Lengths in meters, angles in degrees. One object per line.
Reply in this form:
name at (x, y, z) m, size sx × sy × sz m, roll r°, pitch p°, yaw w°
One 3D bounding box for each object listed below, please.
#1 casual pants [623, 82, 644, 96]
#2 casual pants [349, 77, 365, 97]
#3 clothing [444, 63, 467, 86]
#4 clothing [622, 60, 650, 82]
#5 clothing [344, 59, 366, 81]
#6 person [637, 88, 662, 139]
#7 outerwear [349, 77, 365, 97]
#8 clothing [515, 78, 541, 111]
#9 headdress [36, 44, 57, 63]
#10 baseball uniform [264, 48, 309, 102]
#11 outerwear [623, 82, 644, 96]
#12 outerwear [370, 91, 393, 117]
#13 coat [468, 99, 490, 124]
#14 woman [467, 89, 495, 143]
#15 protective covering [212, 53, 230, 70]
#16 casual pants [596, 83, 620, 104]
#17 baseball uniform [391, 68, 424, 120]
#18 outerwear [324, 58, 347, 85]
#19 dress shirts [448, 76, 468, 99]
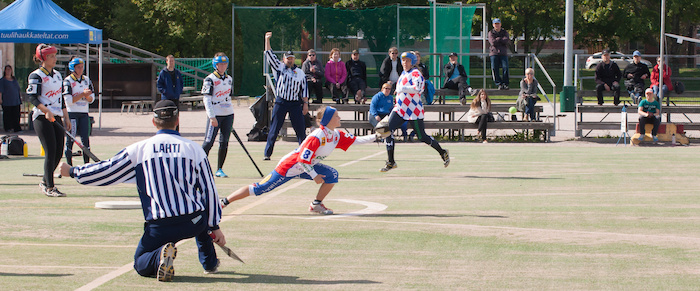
casual pants at (17.864, -3.617, 74.614) m, size 0.913 × 0.909 × 0.492 m, roll 5°, pitch 3°, yaw 19°
casual pants at (0.440, -3.749, 73.963) m, size 1.076 × 1.166 × 0.769 m, roll 1°, pitch 1°, yaw 0°
clothing at (6.544, -4.544, 74.639) m, size 1.637 × 1.368 × 1.228 m, roll 0°, pitch -7°, yaw -2°
clothing at (17.767, -4.678, 74.210) m, size 1.449 × 1.353 × 0.790 m, roll 1°, pitch 1°, yaw 14°
clothing at (0.269, -4.778, 74.269) m, size 1.627 × 1.264 × 0.829 m, roll 0°, pitch 16°, yaw -25°
person at (18.103, -1.859, 72.183) m, size 1.299 × 3.233 × 0.681 m, roll 1°, pitch 1°, yaw 9°
outerwear at (0.440, -3.749, 73.963) m, size 1.076 × 1.166 × 0.769 m, roll 1°, pitch 1°, yaw 0°
clothing at (10.900, -3.168, 73.406) m, size 1.239 × 2.008 × 0.927 m, roll 1°, pitch 1°, yaw 14°
headdress at (-16.289, -5.027, 63.718) m, size 1.245 × 0.708 × 0.892 m, roll -1°, pitch 6°, yaw -7°
baseball uniform at (-3.524, -4.017, 67.156) m, size 2.137 × 2.906 × 0.712 m, roll 1°, pitch 1°, yaw -2°
outerwear at (17.719, -3.605, 74.324) m, size 0.913 × 0.909 × 0.492 m, roll 5°, pitch 3°, yaw 19°
outerwear at (1.813, -2.550, 70.237) m, size 1.829 × 1.333 × 1.074 m, roll 4°, pitch 5°, yaw -43°
coat at (8.058, -2.174, 73.445) m, size 1.650 × 1.281 × 1.310 m, roll 13°, pitch 18°, yaw 22°
woman at (7.998, -1.863, 73.092) m, size 1.593 × 3.311 × 0.781 m, roll 1°, pitch 1°, yaw 4°
protective covering at (-7.159, -4.813, 65.608) m, size 0.933 × 0.878 × 1.135 m, roll -3°, pitch 6°, yaw -40°
casual pants at (16.042, -3.284, 74.205) m, size 1.474 × 1.343 × 0.464 m, roll 1°, pitch 1°, yaw 7°
baseball uniform at (3.129, -2.954, 66.694) m, size 2.310 × 2.661 × 2.922 m, roll 0°, pitch 6°, yaw -20°
outerwear at (-0.868, -4.719, 73.981) m, size 1.408 × 1.553 × 0.493 m, roll 1°, pitch 1°, yaw -2°
dress shirts at (6.685, -3.695, 74.184) m, size 1.230 × 1.384 × 0.426 m, roll 2°, pitch 2°, yaw 37°
